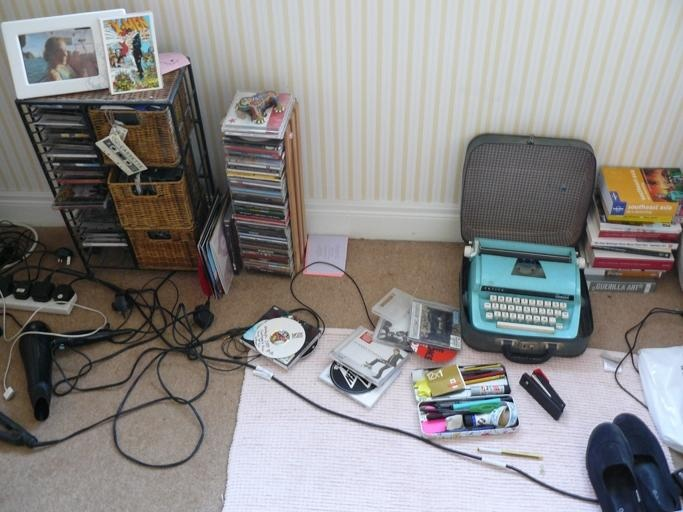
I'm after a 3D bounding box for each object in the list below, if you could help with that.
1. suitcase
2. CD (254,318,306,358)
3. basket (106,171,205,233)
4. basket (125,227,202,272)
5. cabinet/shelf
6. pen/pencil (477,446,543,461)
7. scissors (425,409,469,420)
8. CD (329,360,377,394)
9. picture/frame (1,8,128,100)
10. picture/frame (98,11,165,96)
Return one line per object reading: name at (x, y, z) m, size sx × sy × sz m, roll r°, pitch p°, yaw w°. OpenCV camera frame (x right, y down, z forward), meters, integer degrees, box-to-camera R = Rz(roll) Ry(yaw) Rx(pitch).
suitcase at (0.775, -0.022, 2.539) m, size 0.663 × 0.641 × 0.975 m, roll 5°, pitch 61°, yaw 8°
CD at (-0.262, 0.346, 2.372) m, size 0.160 × 0.012 × 0.161 m, roll -36°, pitch 58°, yaw -24°
basket at (-0.813, -0.260, 2.424) m, size 0.341 × 0.243 × 0.242 m, roll -2°, pitch 42°, yaw -1°
basket at (-0.813, -0.026, 2.568) m, size 0.305 × 0.227 × 0.166 m, roll 2°, pitch 48°, yaw -2°
cabinet/shelf at (-0.961, -0.420, 2.516) m, size 0.596 × 0.740 × 0.411 m, roll 1°, pitch 39°, yaw 2°
pen/pencil at (0.630, 0.733, 2.086) m, size 0.187 × 0.021 × 0.021 m, roll 5°, pitch 34°, yaw 3°
scissors at (0.412, 0.602, 2.145) m, size 0.092 × 0.016 × 0.026 m, roll -7°, pitch 42°, yaw -2°
CD at (0.051, 0.491, 2.271) m, size 0.152 × 0.015 × 0.142 m, roll 12°, pitch 36°, yaw 6°
picture/frame at (-1.051, -0.772, 2.160) m, size 0.460 × 0.299 × 0.019 m, roll -5°, pitch 23°, yaw 3°
picture/frame at (-0.818, -0.785, 2.173) m, size 0.223 × 0.316 × 0.060 m, roll -5°, pitch 47°, yaw -11°
